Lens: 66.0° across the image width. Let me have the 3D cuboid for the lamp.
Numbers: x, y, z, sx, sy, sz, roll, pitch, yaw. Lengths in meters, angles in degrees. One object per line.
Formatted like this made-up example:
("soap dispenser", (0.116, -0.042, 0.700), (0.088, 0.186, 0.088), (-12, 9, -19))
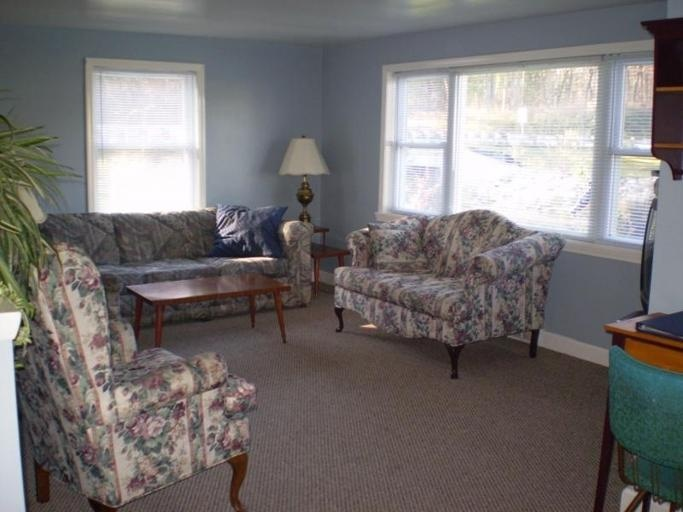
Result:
("lamp", (-0.423, -0.892, 5.963), (0.542, 0.933, 0.745), (0, 13, -4))

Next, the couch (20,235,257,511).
("couch", (-0.995, 0.406, 2.648), (1.021, 1.484, 1.026), (-5, 10, -36))
